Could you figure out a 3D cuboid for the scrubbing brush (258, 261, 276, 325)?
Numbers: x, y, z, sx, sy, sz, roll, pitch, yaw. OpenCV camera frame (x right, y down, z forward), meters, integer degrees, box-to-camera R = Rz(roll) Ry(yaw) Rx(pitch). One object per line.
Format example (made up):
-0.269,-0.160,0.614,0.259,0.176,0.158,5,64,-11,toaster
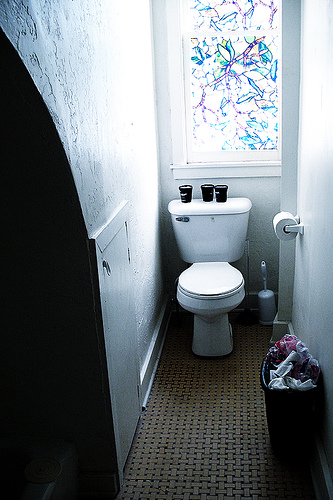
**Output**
0.632,0.269,2.325,0.097,0.423,0.097,-24,26,-33,scrubbing brush

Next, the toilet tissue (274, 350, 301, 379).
0.432,0.392,1.293,0.053,0.109,0.029,14,-1,24,toilet tissue

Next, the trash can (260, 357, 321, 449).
0.430,0.578,1.350,0.147,0.310,0.233,1,16,4,trash can

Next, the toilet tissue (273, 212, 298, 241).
0.561,-0.131,1.741,0.095,0.133,0.133,-17,7,17,toilet tissue

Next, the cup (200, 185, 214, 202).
0.254,-0.358,2.281,0.072,0.108,0.086,2,14,15,cup

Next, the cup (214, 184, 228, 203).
0.327,-0.345,2.193,0.075,0.114,0.090,-2,21,1,cup

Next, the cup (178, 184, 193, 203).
0.116,-0.352,2.251,0.077,0.113,0.092,-3,22,-1,cup

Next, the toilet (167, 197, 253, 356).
0.264,0.073,2.219,0.448,0.968,0.849,0,28,5,toilet
